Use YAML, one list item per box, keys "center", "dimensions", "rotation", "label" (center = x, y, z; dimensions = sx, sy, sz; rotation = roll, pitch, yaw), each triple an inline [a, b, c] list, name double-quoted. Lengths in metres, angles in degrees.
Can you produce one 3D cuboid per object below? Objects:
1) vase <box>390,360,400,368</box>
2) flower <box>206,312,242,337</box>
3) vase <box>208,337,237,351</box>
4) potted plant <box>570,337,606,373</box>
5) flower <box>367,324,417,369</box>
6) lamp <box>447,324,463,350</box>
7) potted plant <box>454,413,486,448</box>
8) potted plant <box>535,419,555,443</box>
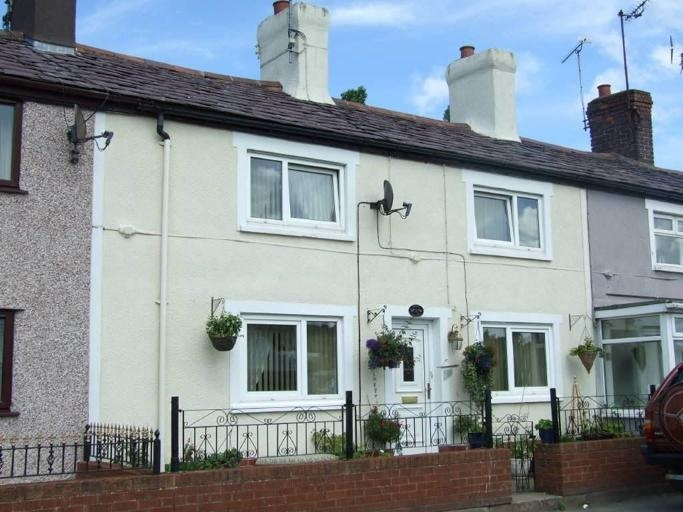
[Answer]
- center: [1.026, 2.069, 17.260]
  dimensions: [0.130, 0.151, 0.086]
  rotation: [0, 8, -4]
  label: "vase"
- center: [-2.032, 1.234, 15.966]
  dimensions: [0.397, 0.342, 0.446]
  rotation: [-5, -8, 26]
  label: "flower"
- center: [-2.072, 1.524, 15.912]
  dimensions: [0.284, 0.191, 0.301]
  rotation: [-9, -13, 30]
  label: "vase"
- center: [5.231, 2.117, 19.561]
  dimensions: [0.696, 0.799, 0.675]
  rotation: [8, -13, -37]
  label: "potted plant"
- center: [0.920, 1.786, 17.354]
  dimensions: [0.843, 0.713, 0.733]
  rotation: [5, -11, -25]
  label: "flower"
- center: [2.346, 1.648, 18.255]
  dimensions: [0.340, 0.486, 0.209]
  rotation: [3, -11, -25]
  label: "lamp"
- center: [2.414, 3.310, 17.134]
  dimensions: [0.550, 0.605, 2.256]
  rotation: [-3, -11, 6]
  label: "potted plant"
- center: [3.800, 3.272, 16.969]
  dimensions: [0.341, 0.493, 0.429]
  rotation: [6, -8, -39]
  label: "potted plant"
